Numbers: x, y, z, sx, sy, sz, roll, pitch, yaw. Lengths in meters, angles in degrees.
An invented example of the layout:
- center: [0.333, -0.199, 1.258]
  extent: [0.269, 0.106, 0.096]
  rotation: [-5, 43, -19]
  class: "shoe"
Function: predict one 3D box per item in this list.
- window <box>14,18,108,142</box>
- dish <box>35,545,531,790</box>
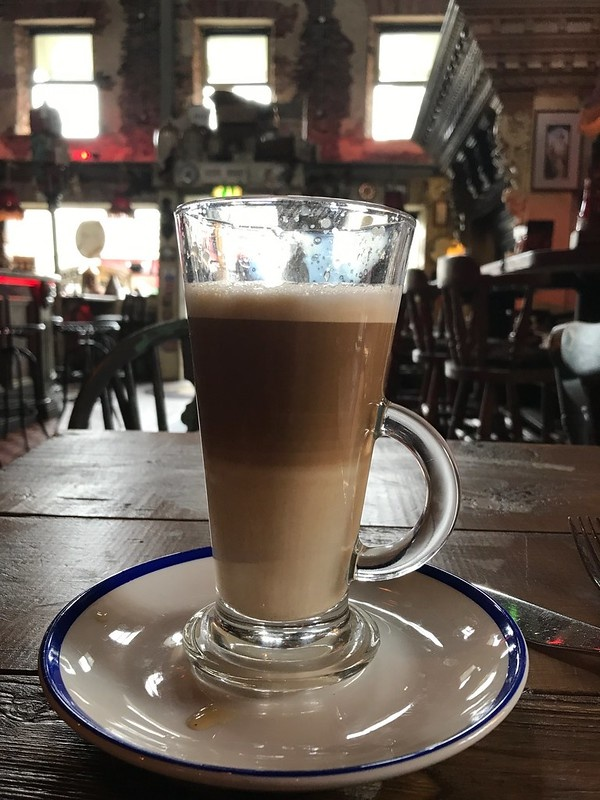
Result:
- center: [-1.566, -2.317, 5.220]
  extent: [0.650, 0.718, 0.605]
  rotation: [-15, 30, -29]
  class: "window"
- center: [-0.009, 0.144, 0.423]
  extent: [0.264, 0.042, 0.278]
  rotation: [0, 9, -2]
  class: "dish"
